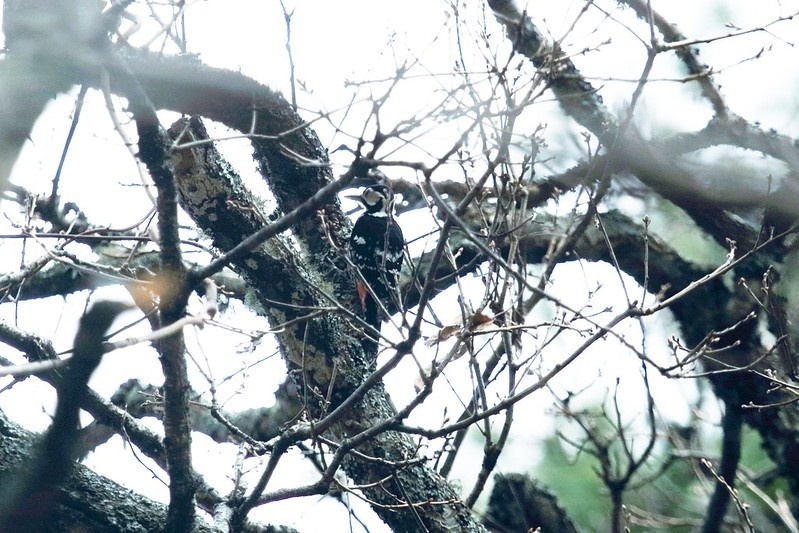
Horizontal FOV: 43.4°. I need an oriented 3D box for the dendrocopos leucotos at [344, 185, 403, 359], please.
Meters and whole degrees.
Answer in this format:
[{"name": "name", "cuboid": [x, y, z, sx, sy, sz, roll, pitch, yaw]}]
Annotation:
[{"name": "dendrocopos leucotos", "cuboid": [-0.272, 0.090, 9.464, 0.681, 1.721, 0.518, 13, -48, -3]}]
